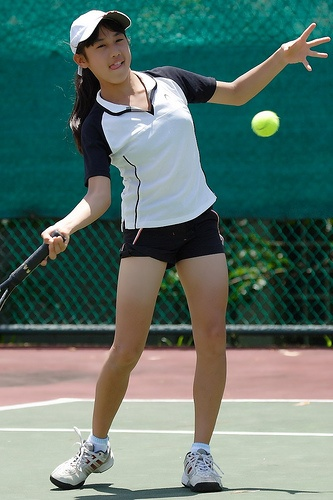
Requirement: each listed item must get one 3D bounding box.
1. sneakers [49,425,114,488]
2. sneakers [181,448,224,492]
[{"bbox_3d":[-0.254,0.626,1.588,0.228,0.144,0.081,-17,27,-41],"label":"sneakers"},{"bbox_3d":[0.099,0.637,1.481,0.112,0.072,0.146,-2,17,0],"label":"sneakers"}]
